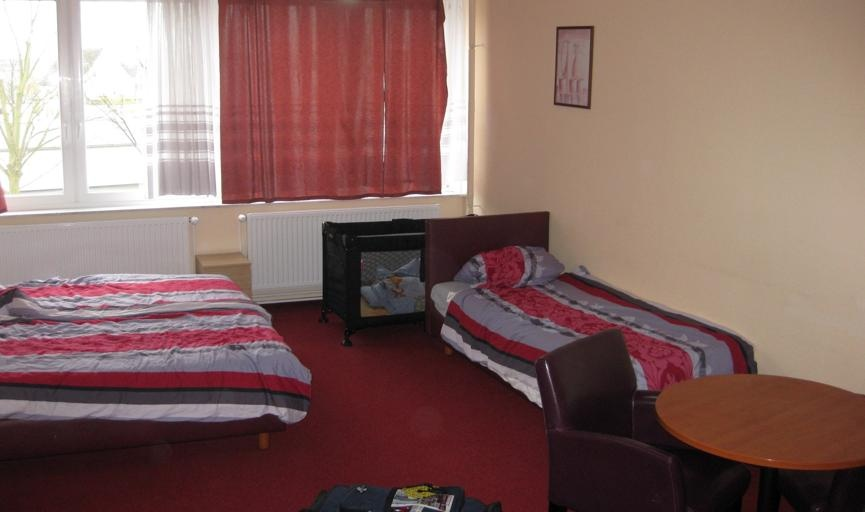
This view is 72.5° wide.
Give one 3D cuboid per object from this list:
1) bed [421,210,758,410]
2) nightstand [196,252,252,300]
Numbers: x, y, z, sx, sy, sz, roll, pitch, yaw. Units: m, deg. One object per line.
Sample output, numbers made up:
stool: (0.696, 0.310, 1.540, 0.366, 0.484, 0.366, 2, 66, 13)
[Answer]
bed: (1.022, 0.431, 5.947, 4.122, 1.847, 1.573, 0, -2, -3)
nightstand: (-2.191, 0.170, 6.161, 0.496, 0.476, 0.493, -3, 9, -25)
